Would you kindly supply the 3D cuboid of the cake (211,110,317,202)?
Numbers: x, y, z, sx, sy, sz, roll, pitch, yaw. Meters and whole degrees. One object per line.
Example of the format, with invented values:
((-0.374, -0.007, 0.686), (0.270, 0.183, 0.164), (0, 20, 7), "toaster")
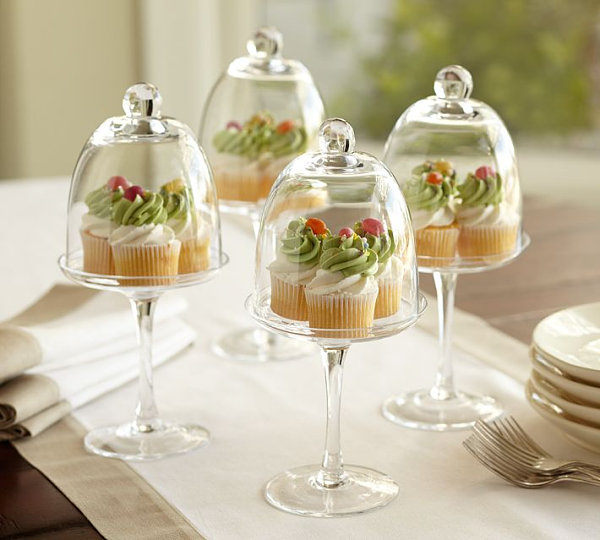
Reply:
((-0.076, -0.256, 1.604), (0.239, 0.191, 0.219), (-2, -8, 4), "cake")

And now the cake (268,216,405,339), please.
((0.044, -0.001, 0.810), (0.158, 0.094, 0.144), (0, 13, -2), "cake")

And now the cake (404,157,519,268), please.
((0.240, -0.097, 1.065), (0.191, 0.141, 0.175), (-1, 8, 0), "cake")

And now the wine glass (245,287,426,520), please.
((0.041, 0.166, 0.845), (0.222, 0.227, 0.212), (2, -4, -33), "wine glass")

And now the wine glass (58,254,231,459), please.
((-0.233, 0.121, 1.002), (0.268, 0.268, 0.263), (-6, -7, 24), "wine glass")

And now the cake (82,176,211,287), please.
((-0.215, -0.053, 0.918), (0.176, 0.105, 0.160), (1, 3, -3), "cake")
